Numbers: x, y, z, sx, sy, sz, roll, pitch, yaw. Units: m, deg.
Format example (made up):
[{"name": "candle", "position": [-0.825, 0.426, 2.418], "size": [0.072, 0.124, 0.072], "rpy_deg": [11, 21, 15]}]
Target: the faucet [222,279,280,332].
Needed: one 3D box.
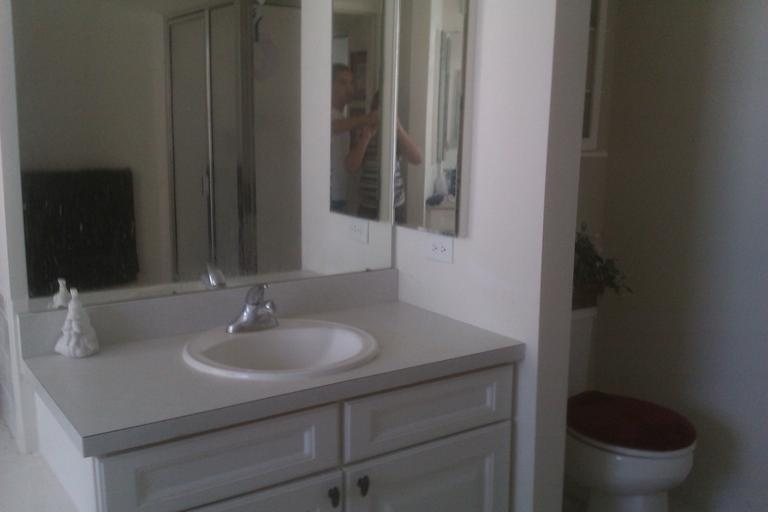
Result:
[{"name": "faucet", "position": [-0.448, 0.194, 2.163], "size": [0.239, 0.193, 0.086], "rpy_deg": [-1, 3, -41]}]
